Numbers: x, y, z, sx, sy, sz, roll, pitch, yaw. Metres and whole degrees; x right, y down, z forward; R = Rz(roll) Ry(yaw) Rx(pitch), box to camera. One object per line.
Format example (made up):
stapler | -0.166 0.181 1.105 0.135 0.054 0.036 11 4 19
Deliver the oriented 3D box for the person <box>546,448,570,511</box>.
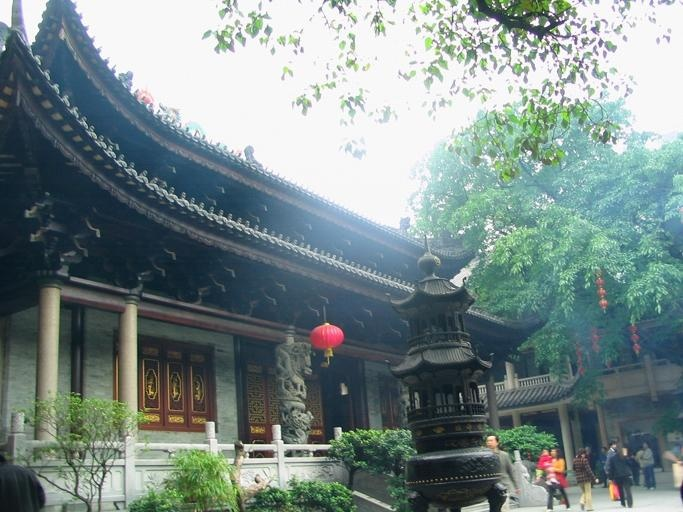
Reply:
person | 4.356 4.540 12.885 0.447 1.194 1.987 -9 -21 16
